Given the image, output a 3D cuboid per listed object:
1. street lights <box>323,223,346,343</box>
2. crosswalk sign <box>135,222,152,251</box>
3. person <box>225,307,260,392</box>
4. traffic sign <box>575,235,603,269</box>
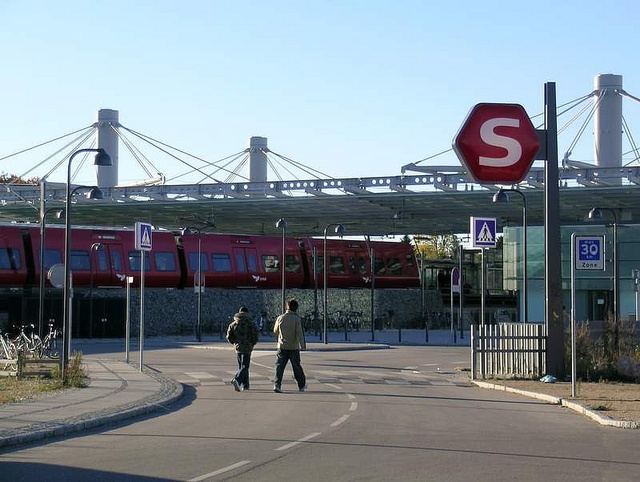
[{"bbox_3d":[0.450,1.713,48.423,0.986,5.920,0.779,-4,-1,4],"label":"street lights"},{"bbox_3d":[-4.738,-0.125,30.482,0.132,0.877,0.973,-2,-4,23],"label":"crosswalk sign"},{"bbox_3d":[-1.889,2.662,28.064,0.838,2.026,1.073,0,1,24],"label":"person"},{"bbox_3d":[6.295,0.247,26.547,0.843,0.833,0.086,0,-1,5],"label":"traffic sign"}]
